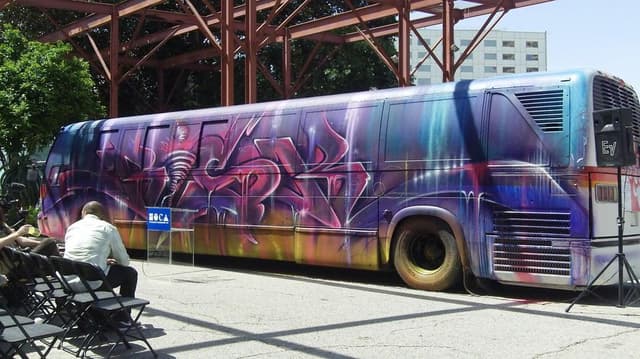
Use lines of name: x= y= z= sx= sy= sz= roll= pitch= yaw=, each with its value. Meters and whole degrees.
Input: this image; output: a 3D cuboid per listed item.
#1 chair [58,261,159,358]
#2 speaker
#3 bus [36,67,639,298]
chair: x=-3.625 y=2.087 z=9.161 sx=1.113 sy=1.483 sz=1.731 roll=-2 pitch=3 yaw=-45
speaker: x=6.030 y=-0.851 z=11.258 sx=0.781 sy=1.215 sz=0.375 roll=1 pitch=3 yaw=26
bus: x=-1.614 y=-0.045 z=16.597 sx=18.248 sy=5.185 sz=5.036 roll=0 pitch=-5 yaw=35
